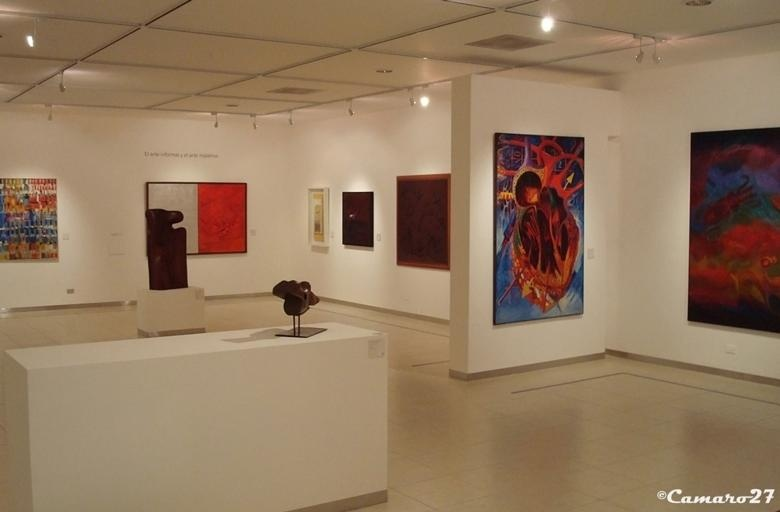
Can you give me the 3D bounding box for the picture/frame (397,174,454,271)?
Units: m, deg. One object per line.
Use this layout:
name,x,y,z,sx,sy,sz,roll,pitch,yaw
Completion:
picture/frame,0.746,-0.765,12.186,1.452,2.041,0.100,-1,1,-28

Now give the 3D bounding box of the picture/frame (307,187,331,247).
picture/frame,-1.982,-1.089,15.063,0.163,2.264,1.569,0,2,-35
